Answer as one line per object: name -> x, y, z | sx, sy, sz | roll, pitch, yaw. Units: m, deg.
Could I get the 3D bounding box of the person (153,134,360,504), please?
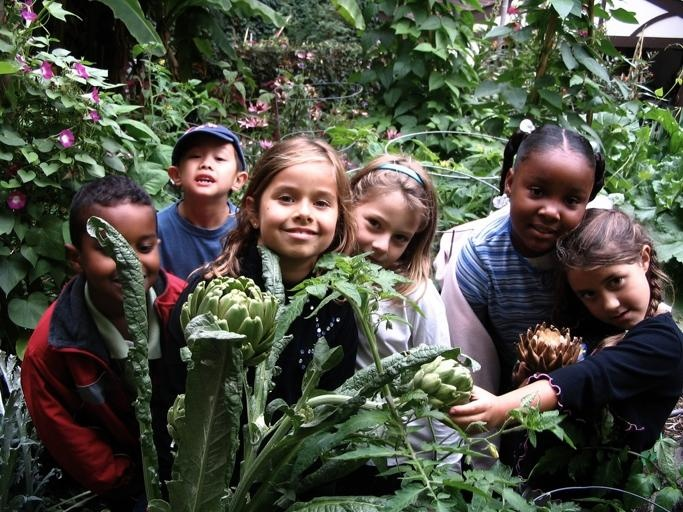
person -> -0.217, 0.090, 1.814 | 0.578, 0.930, 0.311 | 20, -12, -23

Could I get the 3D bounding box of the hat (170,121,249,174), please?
hat -> -0.591, -0.505, 2.450 | 0.210, 0.265, 0.267 | -7, 34, -13

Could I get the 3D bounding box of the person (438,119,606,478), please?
person -> 0.828, 0.282, 2.408 | 0.733, 1.610, 0.520 | 1, 13, -6
